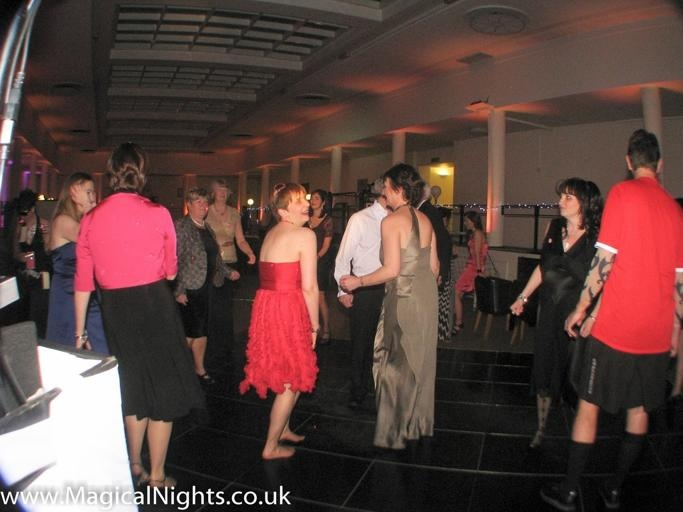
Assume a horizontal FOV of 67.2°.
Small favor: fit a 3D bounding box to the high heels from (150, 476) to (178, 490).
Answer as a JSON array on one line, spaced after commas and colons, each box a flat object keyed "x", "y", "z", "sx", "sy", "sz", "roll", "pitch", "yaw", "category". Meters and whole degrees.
[{"x": -1.083, "y": 1.381, "z": 3.126, "sx": 0.130, "sy": 0.054, "sz": 0.070, "roll": -1, "pitch": 18, "yaw": -34, "category": "high heels"}]

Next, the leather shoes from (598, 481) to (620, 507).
[{"x": 1.597, "y": 1.426, "z": 3.072, "sx": 0.072, "sy": 0.071, "sz": 0.168, "roll": -6, "pitch": 17, "yaw": 15, "category": "leather shoes"}]

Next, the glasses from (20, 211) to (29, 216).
[{"x": -3.678, "y": -0.497, "z": 5.933, "sx": 0.053, "sy": 0.037, "sz": 0.057, "roll": -2, "pitch": 3, "yaw": -2, "category": "glasses"}]

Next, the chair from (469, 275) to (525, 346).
[{"x": 1.965, "y": 0.638, "z": 6.457, "sx": 0.582, "sy": 0.769, "sz": 0.556, "roll": -3, "pitch": 8, "yaw": -38, "category": "chair"}]

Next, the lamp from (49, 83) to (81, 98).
[{"x": -6.050, "y": -3.673, "z": 11.300, "sx": 0.629, "sy": 0.166, "sz": 0.854, "roll": -3, "pitch": 9, "yaw": -26, "category": "lamp"}]
